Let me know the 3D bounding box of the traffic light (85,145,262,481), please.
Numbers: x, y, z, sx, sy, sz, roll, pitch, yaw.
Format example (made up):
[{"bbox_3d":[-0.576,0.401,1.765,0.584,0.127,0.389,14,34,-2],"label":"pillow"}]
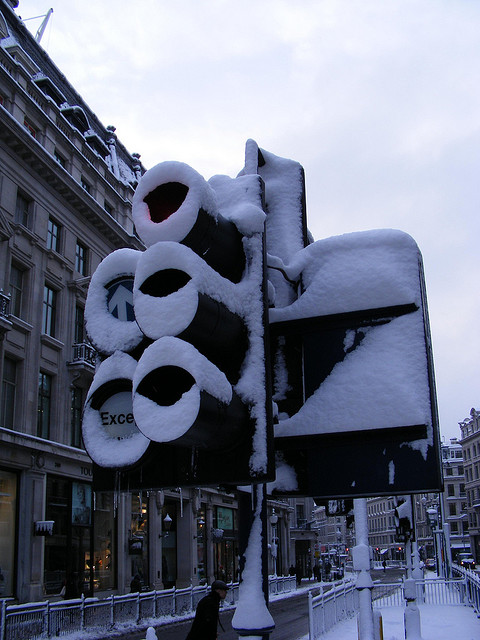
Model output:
[{"bbox_3d":[-0.337,0.016,3.409,0.878,1.578,1.302,2,-17,-15],"label":"traffic light"}]

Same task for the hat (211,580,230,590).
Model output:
[{"bbox_3d":[-0.196,2.849,6.824,0.203,0.114,0.140,-4,-15,-8],"label":"hat"}]
